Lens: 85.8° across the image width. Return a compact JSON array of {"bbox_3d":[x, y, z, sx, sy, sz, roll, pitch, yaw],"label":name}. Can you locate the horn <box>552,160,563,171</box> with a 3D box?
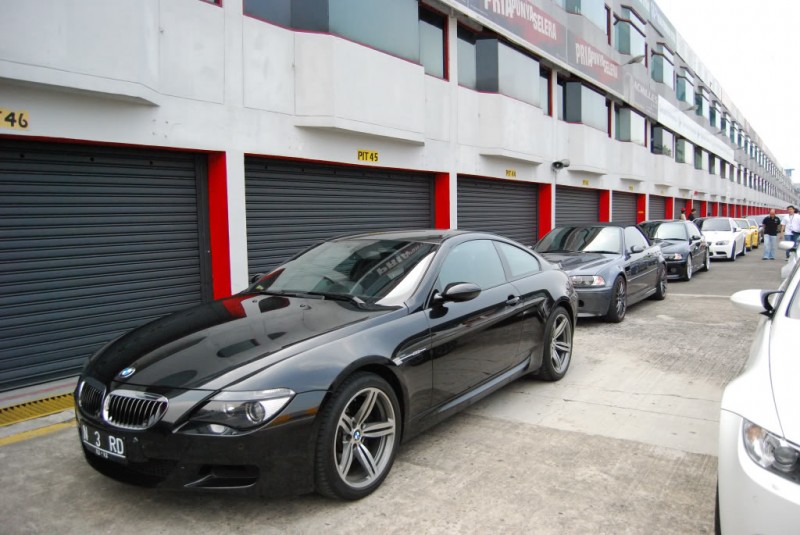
[{"bbox_3d":[5.670,-3.677,15.461,0.355,0.302,0.101,-12,-3,-21],"label":"horn"}]

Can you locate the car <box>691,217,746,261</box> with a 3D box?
[{"bbox_3d":[14.669,-1.360,19.476,1.943,1.394,4.609,0,1,35],"label":"car"}]
